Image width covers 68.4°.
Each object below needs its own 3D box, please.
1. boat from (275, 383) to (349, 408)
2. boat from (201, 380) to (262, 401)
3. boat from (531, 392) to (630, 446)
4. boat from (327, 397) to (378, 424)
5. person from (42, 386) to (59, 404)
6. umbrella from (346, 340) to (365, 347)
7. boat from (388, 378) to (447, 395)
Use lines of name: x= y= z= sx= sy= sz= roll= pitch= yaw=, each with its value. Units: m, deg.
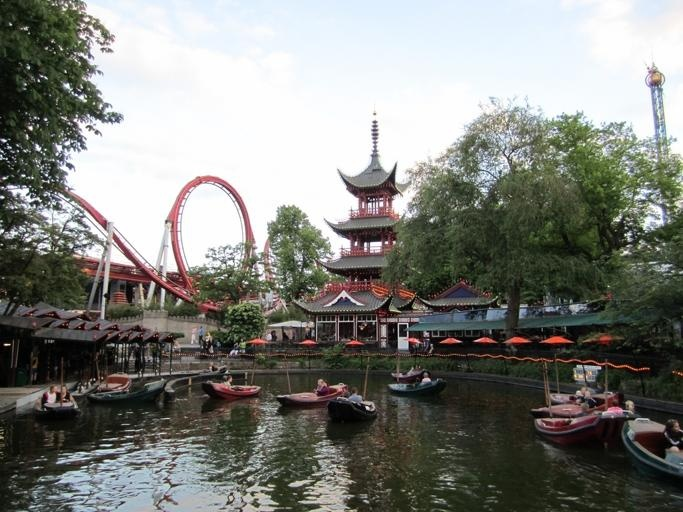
boat: x=-1.800 y=8.421 z=29.773 sx=1.755 sy=0.864 sz=5.221 roll=-10 pitch=-12 yaw=39
boat: x=-7.032 y=8.727 z=32.920 sx=1.516 sy=0.882 sz=4.618 roll=1 pitch=-6 yaw=39
boat: x=9.726 y=6.766 z=20.997 sx=2.332 sy=1.279 sz=4.081 roll=-1 pitch=-15 yaw=-7
boat: x=0.513 y=7.586 z=24.970 sx=2.436 sy=1.289 sz=1.273 roll=4 pitch=-6 yaw=-34
person: x=-14.289 y=6.796 z=24.736 sx=0.762 sy=0.708 sz=1.702 roll=3 pitch=-6 yaw=-27
umbrella: x=1.470 y=8.911 z=50.667 sx=1.623 sy=0.451 sz=1.509 roll=3 pitch=-5 yaw=-16
boat: x=4.939 y=8.573 z=32.980 sx=3.941 sy=1.288 sz=0.766 roll=-3 pitch=-7 yaw=39
